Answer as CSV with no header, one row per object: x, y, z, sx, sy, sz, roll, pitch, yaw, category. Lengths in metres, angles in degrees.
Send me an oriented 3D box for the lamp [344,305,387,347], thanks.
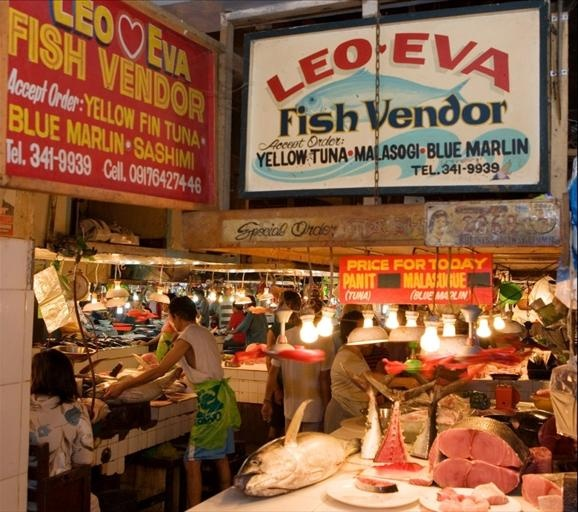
0.572,0.557,4.407,0.291,0.344,0.322,-1,-13,5,lamp

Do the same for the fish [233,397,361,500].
0.121,1.239,3.683,0.304,0.537,1.052,-16,-15,38,fish

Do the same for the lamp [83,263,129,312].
-2.515,0.469,8.074,0.517,0.632,0.560,0,-10,-6,lamp

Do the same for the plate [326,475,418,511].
0.478,1.376,3.345,0.548,0.070,0.389,-1,0,4,plate
